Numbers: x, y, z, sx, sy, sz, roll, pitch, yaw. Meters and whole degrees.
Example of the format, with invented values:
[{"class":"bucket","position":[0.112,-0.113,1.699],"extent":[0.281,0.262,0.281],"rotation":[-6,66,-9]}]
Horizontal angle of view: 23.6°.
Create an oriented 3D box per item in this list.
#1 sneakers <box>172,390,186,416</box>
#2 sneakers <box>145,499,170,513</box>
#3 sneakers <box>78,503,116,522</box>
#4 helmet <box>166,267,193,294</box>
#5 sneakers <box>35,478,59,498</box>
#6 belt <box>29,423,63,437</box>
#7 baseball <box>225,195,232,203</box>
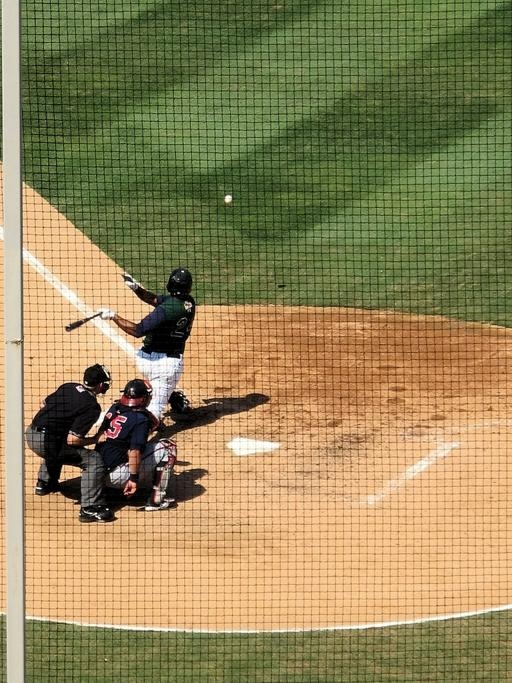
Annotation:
[{"class":"sneakers","position":[-0.924,0.741,14.473],"extent":[0.182,0.272,0.247],"rotation":[-13,-84,-16]},{"class":"sneakers","position":[-0.993,1.688,12.581],"extent":[0.291,0.095,0.096],"rotation":[-8,-66,-10]},{"class":"sneakers","position":[-1.605,1.729,12.343],"extent":[0.347,0.156,0.133],"rotation":[-1,-62,-1]},{"class":"helmet","position":[-0.822,-0.703,14.143],"extent":[0.287,0.329,0.311],"rotation":[-1,-63,-16]},{"class":"sneakers","position":[-2.121,1.522,12.666],"extent":[0.316,0.101,0.182],"rotation":[-4,-74,-20]},{"class":"belt","position":[-2.082,0.893,12.308],"extent":[0.160,0.211,0.066],"rotation":[18,-105,-36]},{"class":"baseball","position":[-0.496,-2.413,20.994],"extent":[0.141,0.130,0.097],"rotation":[0,-21,-1]}]
